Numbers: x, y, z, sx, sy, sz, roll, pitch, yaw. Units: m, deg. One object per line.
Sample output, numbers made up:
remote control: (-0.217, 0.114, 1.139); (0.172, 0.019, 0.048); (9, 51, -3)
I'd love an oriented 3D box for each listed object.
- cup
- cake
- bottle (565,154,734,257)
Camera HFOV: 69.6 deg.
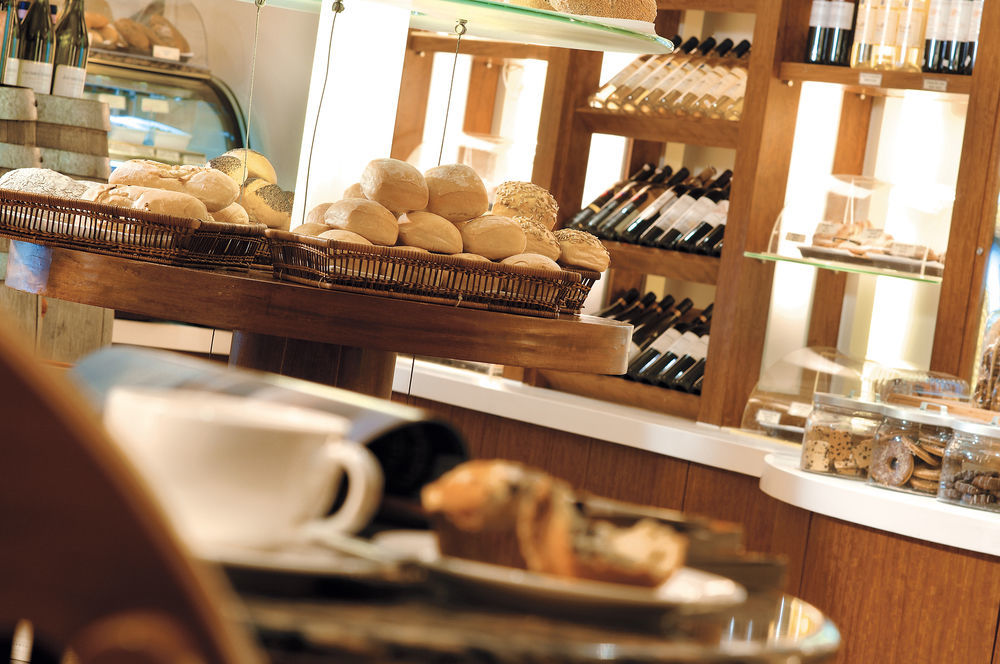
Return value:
cup: (-0.072, 0.031, 0.202); (0.056, 0.024, 0.044); (10, -4, 9)
cake: (0.015, 0.056, 0.209); (0.068, 0.023, 0.038); (12, -4, -11)
bottle: (0.567, -0.472, 2.724); (0.621, 0.151, 0.161); (-4, -26, 22)
